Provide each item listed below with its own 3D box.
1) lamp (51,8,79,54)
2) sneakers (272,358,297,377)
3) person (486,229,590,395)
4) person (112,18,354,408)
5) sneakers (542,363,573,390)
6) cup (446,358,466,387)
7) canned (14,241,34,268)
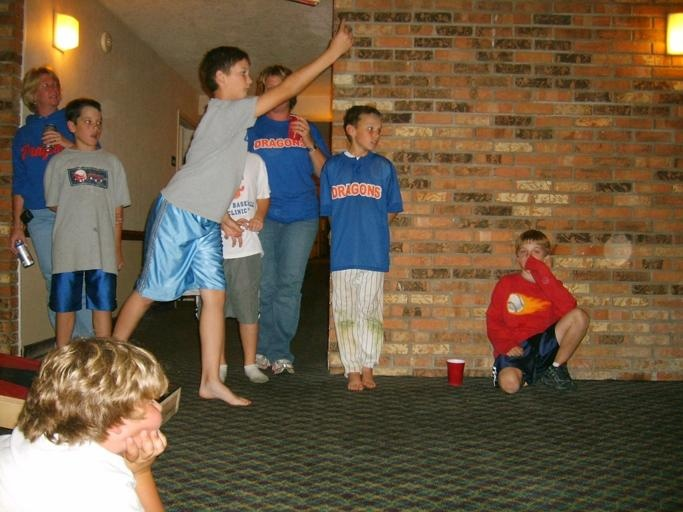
[{"bbox_3d":[-2.220,-1.784,5.999,0.133,0.295,0.220,1,14,0],"label":"lamp"},{"bbox_3d":[-0.391,0.753,5.041,0.124,0.055,0.153,3,0,-5],"label":"sneakers"},{"bbox_3d":[1.243,0.424,4.824,0.580,0.804,0.490,-2,14,-12],"label":"person"},{"bbox_3d":[-0.715,-0.163,4.281,1.196,2.014,0.543,-3,15,-14],"label":"person"},{"bbox_3d":[1.406,0.778,4.809,0.102,0.110,0.275,2,-5,-14],"label":"sneakers"},{"bbox_3d":[0.734,0.747,4.798,0.181,0.154,0.170,1,2,0],"label":"cup"},{"bbox_3d":[-2.135,-0.019,5.032,0.094,0.167,0.183,-5,15,-23],"label":"canned"}]
